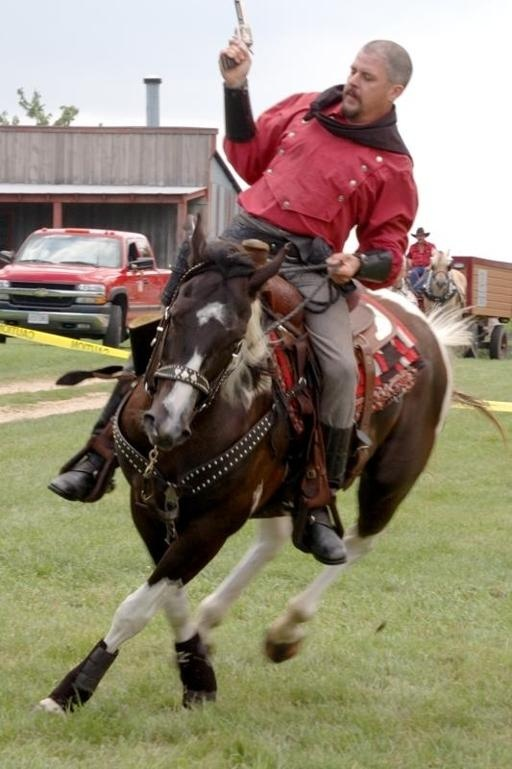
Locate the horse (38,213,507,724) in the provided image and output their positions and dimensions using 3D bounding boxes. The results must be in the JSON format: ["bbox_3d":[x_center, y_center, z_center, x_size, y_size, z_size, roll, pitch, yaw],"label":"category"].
[{"bbox_3d":[0.047,0.338,2.924,0.598,1.834,2.044,11,10,33],"label":"horse"}]
